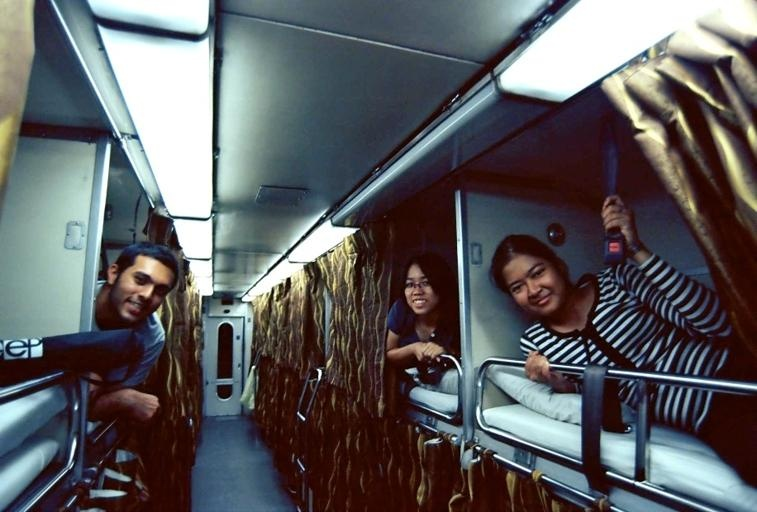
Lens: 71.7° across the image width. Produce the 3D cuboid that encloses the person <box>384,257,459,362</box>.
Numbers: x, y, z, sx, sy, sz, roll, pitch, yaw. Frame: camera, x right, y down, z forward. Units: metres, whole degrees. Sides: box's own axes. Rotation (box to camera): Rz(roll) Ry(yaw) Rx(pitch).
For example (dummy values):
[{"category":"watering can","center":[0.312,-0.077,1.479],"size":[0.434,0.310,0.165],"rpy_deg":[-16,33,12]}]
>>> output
[{"category":"person","center":[0.413,0.465,4.521],"size":[0.693,0.921,0.391],"rpy_deg":[1,15,8]}]

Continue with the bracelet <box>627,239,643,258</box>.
[{"category":"bracelet","center":[1.430,-0.044,2.938],"size":[0.055,0.080,0.077],"rpy_deg":[-7,-30,5]}]
